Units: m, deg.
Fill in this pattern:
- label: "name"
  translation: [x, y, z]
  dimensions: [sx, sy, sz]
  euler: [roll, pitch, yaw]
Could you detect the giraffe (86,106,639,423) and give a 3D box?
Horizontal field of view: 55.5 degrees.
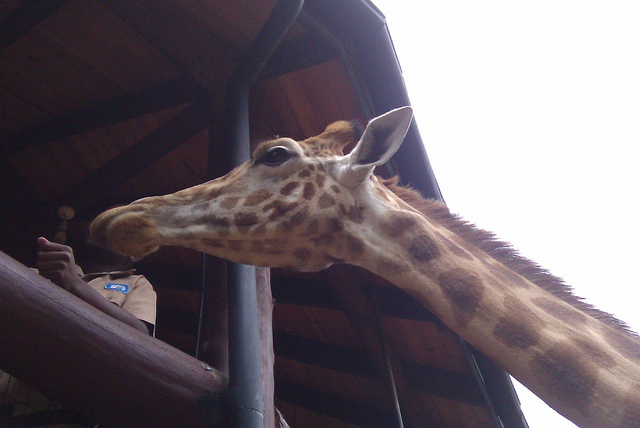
- label: "giraffe"
  translation: [0.009, 0.540, 5.791]
  dimensions: [5.257, 2.139, 1.578]
  euler: [17, -37, -7]
